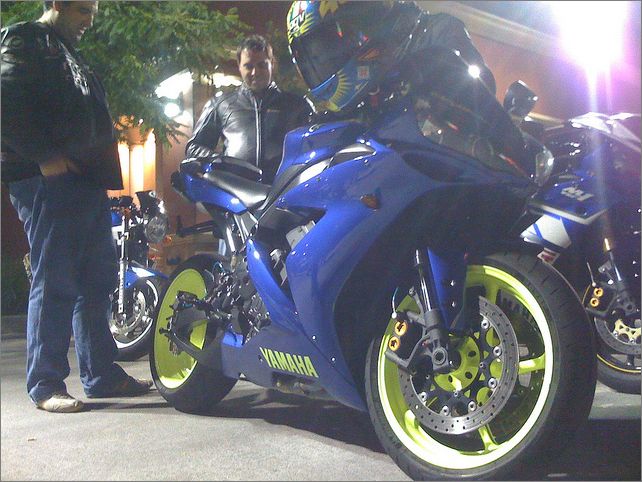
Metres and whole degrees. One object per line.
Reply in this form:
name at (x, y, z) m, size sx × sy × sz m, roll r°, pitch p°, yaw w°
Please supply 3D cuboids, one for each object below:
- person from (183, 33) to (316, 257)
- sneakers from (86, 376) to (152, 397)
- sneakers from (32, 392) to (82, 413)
person at (-0.461, -0.462, 3.968) m, size 0.858 × 2.233 × 0.637 m, roll -2°, pitch -15°, yaw -8°
sneakers at (-1.318, 0.921, 3.586) m, size 0.387 × 0.179 × 0.137 m, roll 0°, pitch 0°, yaw -31°
sneakers at (-1.547, 0.943, 3.225) m, size 0.253 × 0.127 × 0.109 m, roll -2°, pitch -1°, yaw 5°
